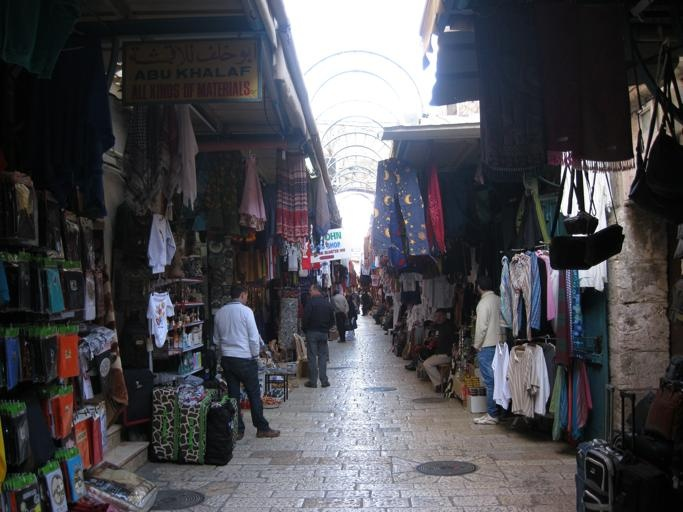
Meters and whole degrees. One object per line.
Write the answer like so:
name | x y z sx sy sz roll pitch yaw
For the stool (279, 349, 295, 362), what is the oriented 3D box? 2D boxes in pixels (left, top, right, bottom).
stool | -1.200 2.222 12.873 0.287 0.328 0.229 -1 -11 1

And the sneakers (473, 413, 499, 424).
sneakers | 2.067 2.369 8.325 0.233 0.119 0.163 1 -6 7

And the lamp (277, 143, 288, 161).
lamp | -0.855 -1.497 8.346 0.139 0.307 0.152 1 -1 5

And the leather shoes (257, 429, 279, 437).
leather shoes | -0.977 2.328 7.625 0.266 0.137 0.120 -1 -3 -4

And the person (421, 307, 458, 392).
person | 1.868 1.792 10.990 0.588 1.463 0.917 -1 -2 11

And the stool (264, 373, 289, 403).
stool | -1.165 2.385 10.436 0.503 0.572 0.411 0 -7 1

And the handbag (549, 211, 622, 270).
handbag | 1.987 -0.074 4.686 0.552 0.468 0.414 -4 -3 -10

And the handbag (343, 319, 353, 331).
handbag | 0.245 2.749 22.891 0.234 0.669 0.658 1 -8 19

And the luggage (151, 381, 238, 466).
luggage | -1.715 1.854 6.886 0.711 0.777 1.013 1 -8 0

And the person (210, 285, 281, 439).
person | -1.291 1.390 7.643 0.735 2.007 0.552 0 -1 -22

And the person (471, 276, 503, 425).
person | 2.130 1.353 8.421 0.436 2.112 0.712 -1 -1 13
